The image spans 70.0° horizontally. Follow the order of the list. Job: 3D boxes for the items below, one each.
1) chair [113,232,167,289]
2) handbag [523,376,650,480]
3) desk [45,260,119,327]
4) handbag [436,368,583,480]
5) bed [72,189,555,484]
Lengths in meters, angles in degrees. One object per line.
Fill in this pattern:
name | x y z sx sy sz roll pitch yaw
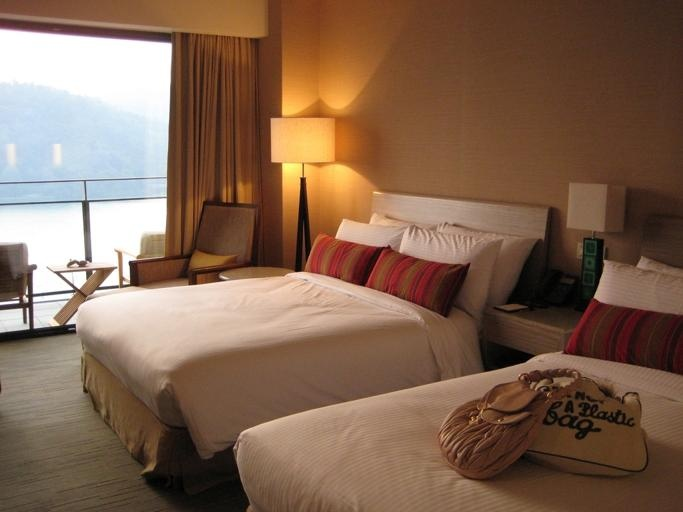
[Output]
chair | -2.450 0.048 5.757 0.534 0.593 0.518 -1 2 -20
handbag | 0.833 0.569 1.706 0.401 0.120 0.409 -12 34 27
desk | -2.701 0.332 5.343 0.868 0.840 0.548 -4 17 -34
handbag | 0.599 0.567 1.691 0.495 0.145 0.287 -31 17 -13
bed | -0.320 0.391 3.767 2.714 1.406 2.236 -2 6 -38
